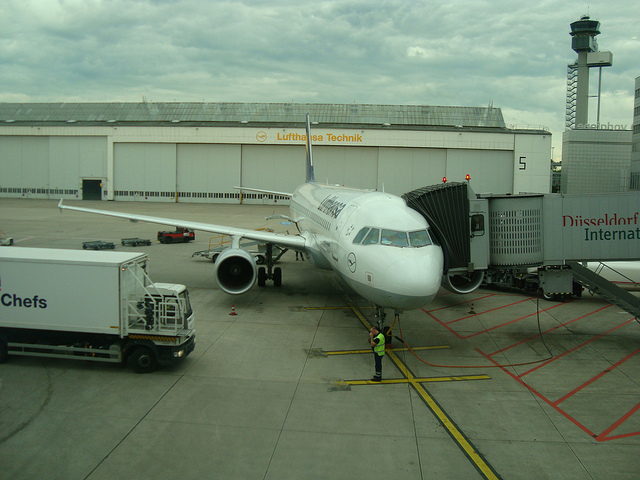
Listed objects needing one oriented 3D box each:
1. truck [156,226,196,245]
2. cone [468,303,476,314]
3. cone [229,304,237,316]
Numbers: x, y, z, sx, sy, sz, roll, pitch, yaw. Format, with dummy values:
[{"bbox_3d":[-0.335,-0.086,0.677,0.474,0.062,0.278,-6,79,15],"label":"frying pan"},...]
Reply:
[{"bbox_3d":[-10.560,-0.370,51.294,2.798,1.002,1.508,-2,7,-27],"label":"truck"},{"bbox_3d":[7.529,3.405,33.946,0.253,0.244,0.267,8,11,42],"label":"cone"},{"bbox_3d":[-4.076,3.275,32.246,0.349,0.337,0.342,1,8,13],"label":"cone"}]
